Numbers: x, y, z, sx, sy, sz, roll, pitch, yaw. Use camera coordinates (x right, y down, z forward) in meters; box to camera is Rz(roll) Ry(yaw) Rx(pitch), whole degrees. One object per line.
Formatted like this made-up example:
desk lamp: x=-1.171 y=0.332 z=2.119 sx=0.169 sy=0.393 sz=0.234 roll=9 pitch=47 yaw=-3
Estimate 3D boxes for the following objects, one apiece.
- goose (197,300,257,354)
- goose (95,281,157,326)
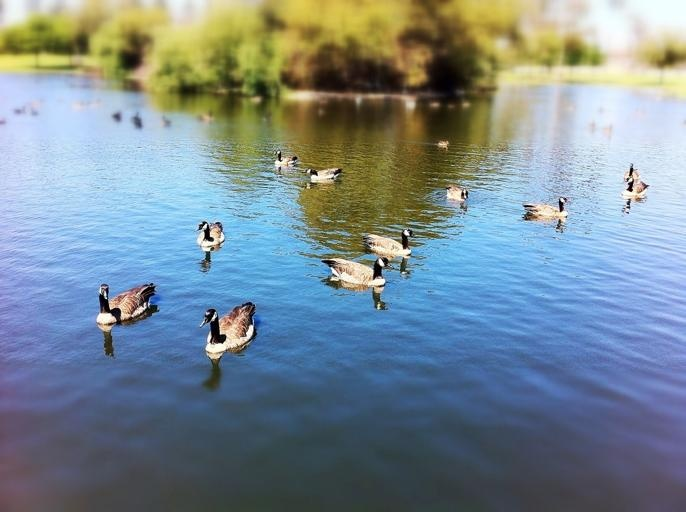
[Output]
goose: x=-5.428 y=3.539 z=29.660 sx=1.780 sy=1.906 sz=3.056 roll=9 pitch=20 yaw=17
goose: x=-11.442 y=2.172 z=31.911 sx=1.396 sy=2.168 sz=3.450 roll=21 pitch=42 yaw=15
